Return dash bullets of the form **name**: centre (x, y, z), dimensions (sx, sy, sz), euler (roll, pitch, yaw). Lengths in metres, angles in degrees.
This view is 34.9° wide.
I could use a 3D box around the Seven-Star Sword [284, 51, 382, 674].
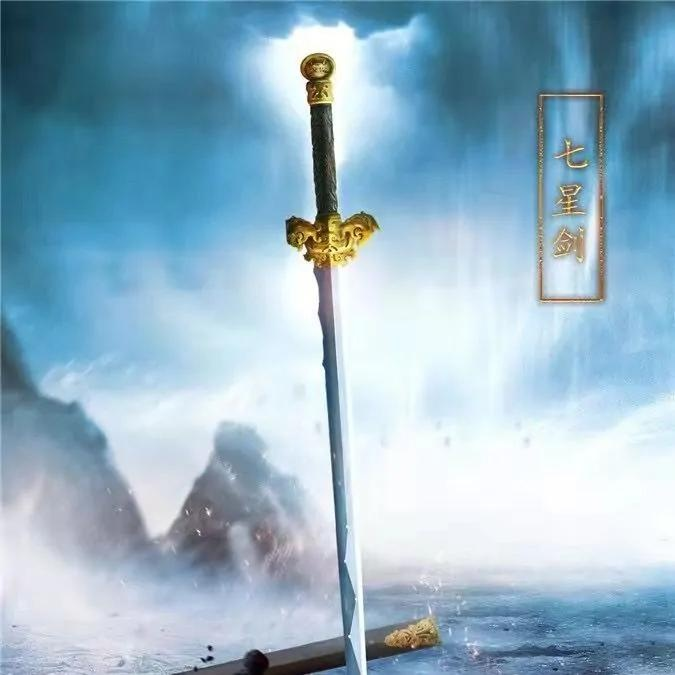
- **Seven-Star Sword**: centre (0.001, 0.066, 2.479), dimensions (0.201, 1.413, 0.247), euler (0, 0, 7)
